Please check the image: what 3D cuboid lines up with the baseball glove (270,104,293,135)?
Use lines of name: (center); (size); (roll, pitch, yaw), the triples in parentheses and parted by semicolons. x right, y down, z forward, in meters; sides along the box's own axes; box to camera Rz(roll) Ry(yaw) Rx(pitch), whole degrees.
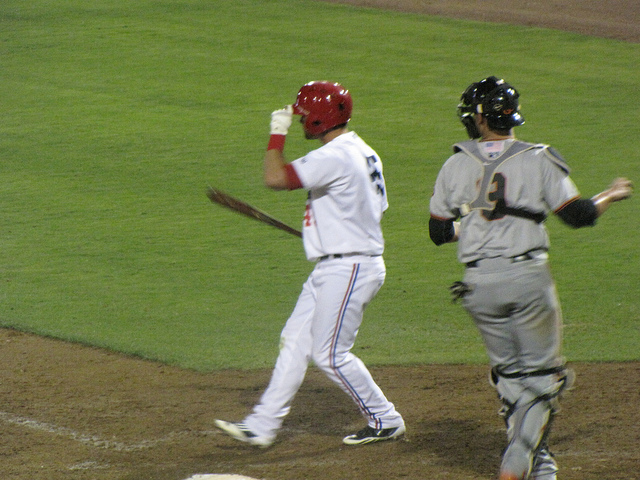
baseball glove: (-0.421, -1.291, 16.406); (0.252, 0.103, 0.308); (13, 67, 1)
